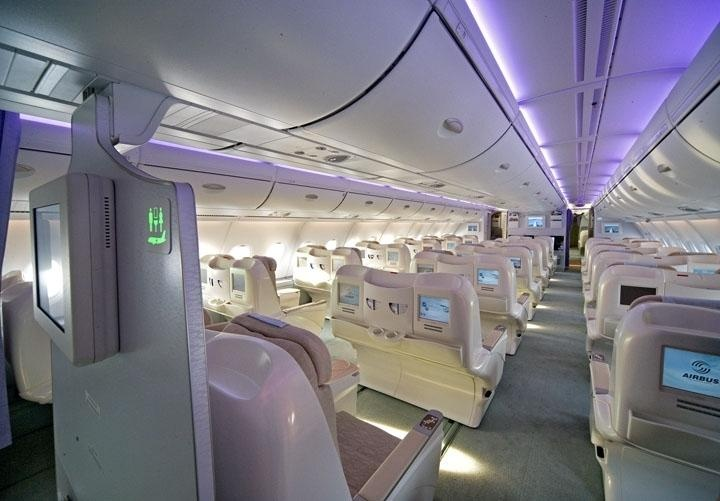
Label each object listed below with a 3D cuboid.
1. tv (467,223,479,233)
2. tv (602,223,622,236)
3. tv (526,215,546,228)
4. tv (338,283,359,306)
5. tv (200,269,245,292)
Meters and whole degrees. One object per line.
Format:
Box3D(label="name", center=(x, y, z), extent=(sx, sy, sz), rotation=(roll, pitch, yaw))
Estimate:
Box3D(label="tv", center=(5.702, -1.175, 20.434), extent=(0.531, 0.410, 0.326), rotation=(5, 3, 32))
Box3D(label="tv", center=(11.936, -1.036, 19.109), extent=(0.582, 0.406, 0.083), rotation=(5, 11, 43))
Box3D(label="tv", center=(7.231, -1.231, 16.536), extent=(0.180, 0.475, 0.806), rotation=(3, 3, -32))
Box3D(label="tv", center=(-0.116, 0.452, 4.303), extent=(0.034, 0.169, 0.240), rotation=(-8, 12, -42))
Box3D(label="tv", center=(-1.776, 0.343, 5.207), extent=(0.348, 0.170, 0.476), rotation=(4, 6, 25))
